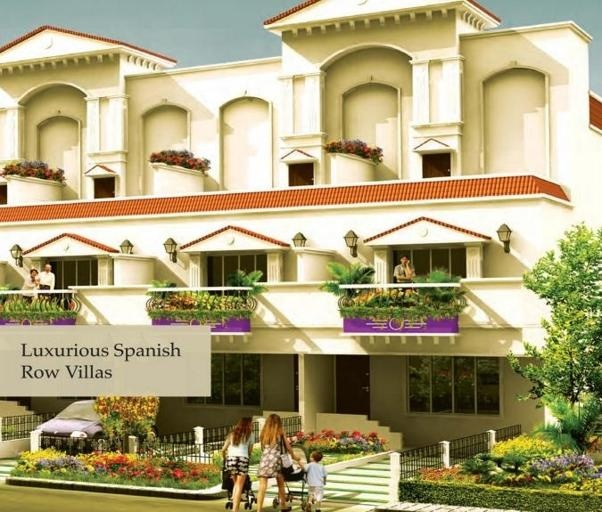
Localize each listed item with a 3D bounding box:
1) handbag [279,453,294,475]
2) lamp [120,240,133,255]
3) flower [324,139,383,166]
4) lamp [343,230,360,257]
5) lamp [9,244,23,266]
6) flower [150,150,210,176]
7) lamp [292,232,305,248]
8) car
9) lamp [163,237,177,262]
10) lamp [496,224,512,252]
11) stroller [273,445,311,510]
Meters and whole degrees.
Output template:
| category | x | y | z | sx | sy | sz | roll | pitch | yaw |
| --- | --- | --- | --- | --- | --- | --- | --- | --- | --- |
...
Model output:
| category | x | y | z | sx | sy | sz | roll | pitch | yaw |
| --- | --- | --- | --- | --- | --- | --- | --- | --- | --- |
| handbag | -0.453 | 5.650 | 41.881 | 0.274 | 0.613 | 0.592 | -1 | -5 | 12 |
| lamp | -6.226 | -0.310 | 53.993 | 0.468 | 0.625 | 0.479 | -1 | 0 | 28 |
| flower | 1.912 | -3.835 | 55.631 | 1.876 | 0.897 | 1.019 | 2 | -5 | -37 |
| lamp | 1.662 | -0.436 | 51.321 | 0.475 | 0.892 | 0.639 | -2 | -7 | 1 |
| lamp | -10.389 | -0.051 | 55.858 | 0.597 | 0.807 | 0.408 | -4 | -8 | 15 |
| flower | -4.542 | -3.555 | 57.573 | 1.303 | 0.913 | 2.023 | -2 | -2 | 31 |
| lamp | -0.116 | -0.567 | 51.672 | 0.475 | 0.476 | 0.475 | 1 | -6 | 2 |
| car | -6.944 | 5.410 | 49.585 | 3.113 | 1.762 | 5.953 | 1 | -8 | -19 |
| lamp | -4.607 | -0.227 | 53.636 | 0.476 | 0.812 | 0.652 | -1 | -7 | -5 |
| lamp | 6.529 | -0.589 | 49.394 | 0.462 | 0.870 | 0.521 | -3 | -7 | 9 |
| stroller | -0.245 | 6.216 | 42.963 | 1.099 | 1.591 | 1.027 | 3 | -6 | -6 |
